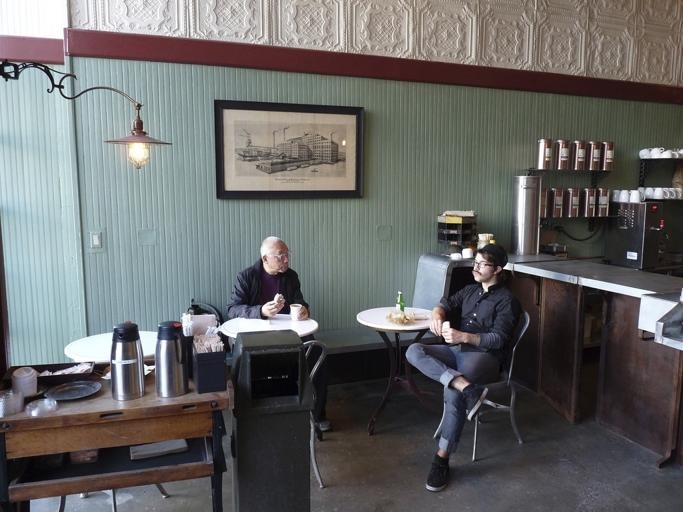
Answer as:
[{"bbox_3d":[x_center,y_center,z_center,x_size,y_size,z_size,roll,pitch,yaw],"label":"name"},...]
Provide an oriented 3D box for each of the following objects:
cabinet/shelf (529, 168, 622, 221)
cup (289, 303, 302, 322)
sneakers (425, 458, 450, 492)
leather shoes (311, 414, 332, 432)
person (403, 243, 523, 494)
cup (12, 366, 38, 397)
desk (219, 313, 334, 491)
[{"bbox_3d":[2.687,-0.712,6.485,0.372,0.585,1.035,-11,11,-34],"label":"cabinet/shelf"},{"bbox_3d":[-0.371,0.466,4.619,0.093,0.113,0.117,0,0,0],"label":"cup"},{"bbox_3d":[0.698,1.599,4.175,0.104,0.129,0.295,2,-3,24],"label":"sneakers"},{"bbox_3d":[-0.162,1.400,4.700,0.117,0.134,0.293,3,-9,-18],"label":"leather shoes"},{"bbox_3d":[0.981,0.770,4.571,0.752,1.541,1.408,6,16,24],"label":"person"},{"bbox_3d":[-1.758,0.692,3.157,0.144,0.166,0.143,4,2,0],"label":"cup"},{"bbox_3d":[-0.388,1.083,4.688,1.067,1.508,1.084,0,1,5],"label":"desk"}]
